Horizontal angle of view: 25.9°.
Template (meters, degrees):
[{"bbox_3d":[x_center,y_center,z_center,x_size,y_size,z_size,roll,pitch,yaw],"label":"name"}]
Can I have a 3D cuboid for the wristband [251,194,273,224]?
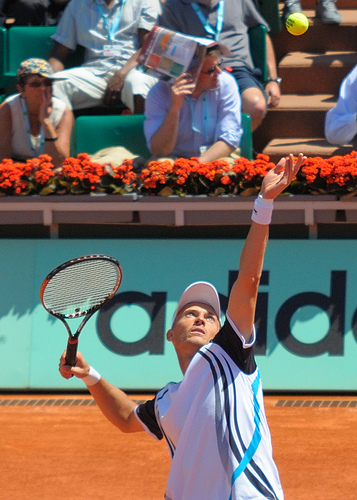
[{"bbox_3d":[0.285,-0.123,2.544,0.077,0.082,0.067,-18,37,-33],"label":"wristband"}]

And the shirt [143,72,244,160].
[{"bbox_3d":[0.112,-0.980,5.275,0.674,0.654,0.379,4,56,9],"label":"shirt"}]

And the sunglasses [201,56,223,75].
[{"bbox_3d":[0.238,-1.198,5.103,0.077,0.108,0.205,8,17,33],"label":"sunglasses"}]

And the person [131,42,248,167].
[{"bbox_3d":[0.120,-0.921,5.174,0.856,1.121,0.829,-2,15,-4],"label":"person"}]

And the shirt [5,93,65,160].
[{"bbox_3d":[-0.967,-0.812,5.226,0.491,0.553,0.299,0,-5,-9],"label":"shirt"}]

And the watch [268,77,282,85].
[{"bbox_3d":[0.769,-1.313,6.121,0.089,0.034,0.068,5,8,33],"label":"watch"}]

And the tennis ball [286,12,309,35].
[{"bbox_3d":[0.993,-1.868,6.469,0.166,0.176,0.204,0,-26,14],"label":"tennis ball"}]

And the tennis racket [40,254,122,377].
[{"bbox_3d":[-0.391,0.268,2.961,0.313,0.604,0.062,-9,41,-26],"label":"tennis racket"}]
